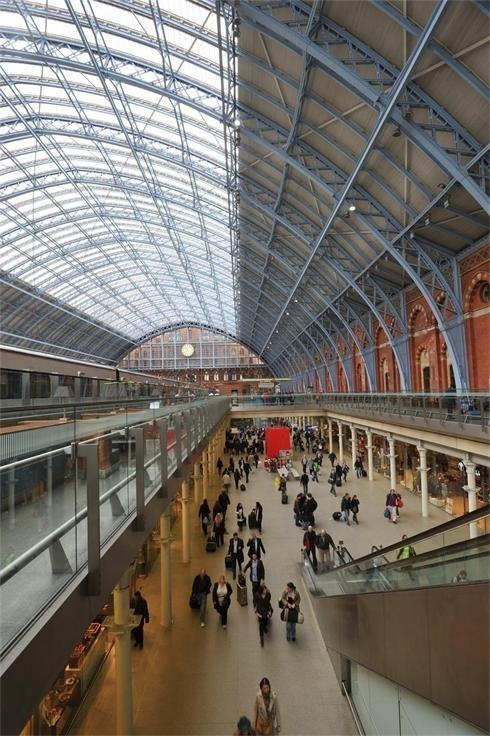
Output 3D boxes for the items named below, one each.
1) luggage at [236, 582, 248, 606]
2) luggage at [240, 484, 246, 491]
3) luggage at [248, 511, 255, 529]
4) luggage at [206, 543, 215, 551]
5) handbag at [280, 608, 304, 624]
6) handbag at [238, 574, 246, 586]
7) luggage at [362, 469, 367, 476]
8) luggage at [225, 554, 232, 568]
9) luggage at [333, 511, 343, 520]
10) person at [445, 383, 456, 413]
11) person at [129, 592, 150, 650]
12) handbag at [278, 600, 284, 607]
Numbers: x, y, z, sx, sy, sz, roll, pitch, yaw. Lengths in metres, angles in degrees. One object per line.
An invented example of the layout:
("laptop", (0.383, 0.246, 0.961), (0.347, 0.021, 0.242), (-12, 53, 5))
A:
("luggage", (-0.090, 5.756, 12.036), (0.261, 0.560, 0.402), (0, -5, -2))
("luggage", (-0.154, 6.485, 25.619), (0.248, 0.526, 0.274), (-3, 0, -3))
("luggage", (0.233, 5.716, 17.645), (0.235, 0.842, 0.712), (-1, -5, 3))
("luggage", (-1.181, 5.949, 15.659), (0.292, 0.326, 0.240), (0, -10, 2))
("handbag", (0.986, 5.189, 9.987), (0.381, 0.255, 0.552), (5, -22, 6))
("handbag", (-0.109, 5.453, 12.011), (0.111, 0.251, 0.348), (2, -44, -4))
("luggage", (7.334, 6.575, 29.249), (0.225, 0.478, 0.261), (-2, -43, 3))
("luggage", (-0.517, 5.738, 13.887), (0.144, 0.475, 0.658), (0, -5, -9))
("luggage", (3.667, 5.955, 18.891), (0.427, 0.300, 0.520), (0, -5, -4))
("person", (6.210, 1.095, 14.395), (0.236, 0.691, 0.845), (-2, -5, 21))
("person", (-2.279, 5.273, 9.910), (0.470, 1.268, 0.345), (2, 9, 3))
("handbag", (0.763, 5.049, 10.096), (0.065, 0.154, 0.140), (0, -5, -6))
